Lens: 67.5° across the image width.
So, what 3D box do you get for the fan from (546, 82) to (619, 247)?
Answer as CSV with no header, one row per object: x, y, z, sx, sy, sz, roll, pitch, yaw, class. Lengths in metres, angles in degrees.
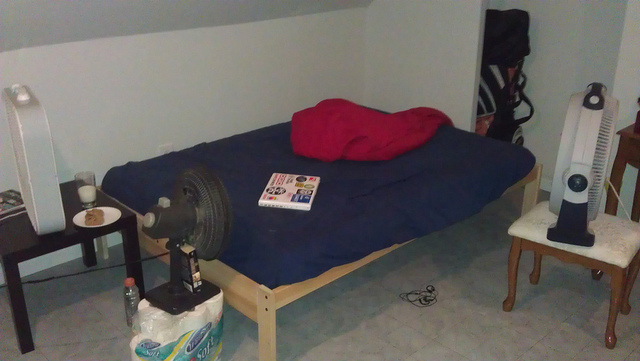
1.885,-0.101,3.381,0.413,1.193,1.119,10,28,28,fan

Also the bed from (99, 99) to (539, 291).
0.089,-0.088,3.881,2.989,0.768,1.665,-14,25,-25,bed

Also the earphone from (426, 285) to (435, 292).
0.863,0.836,3.726,0.073,0.014,0.061,-21,28,-37,earphone

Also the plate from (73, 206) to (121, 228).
-1.600,0.242,3.421,0.316,0.099,0.229,-13,25,-23,plate

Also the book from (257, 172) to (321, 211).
-0.218,0.068,3.562,0.424,0.052,0.414,1,35,5,book

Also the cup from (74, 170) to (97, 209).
-1.730,0.068,3.550,0.143,0.231,0.227,-16,27,-24,cup

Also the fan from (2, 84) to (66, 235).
-1.945,-0.136,3.232,0.313,0.962,0.436,-18,28,-27,fan

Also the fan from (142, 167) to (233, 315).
-0.817,0.373,2.929,0.460,0.850,0.485,15,31,36,fan
